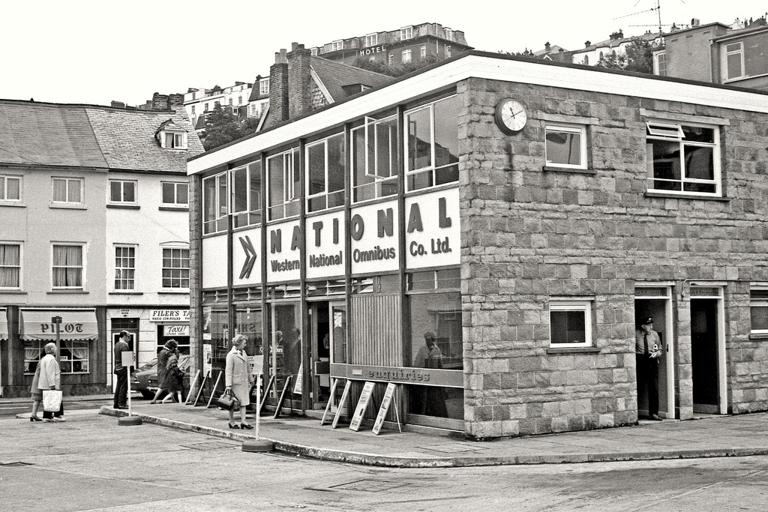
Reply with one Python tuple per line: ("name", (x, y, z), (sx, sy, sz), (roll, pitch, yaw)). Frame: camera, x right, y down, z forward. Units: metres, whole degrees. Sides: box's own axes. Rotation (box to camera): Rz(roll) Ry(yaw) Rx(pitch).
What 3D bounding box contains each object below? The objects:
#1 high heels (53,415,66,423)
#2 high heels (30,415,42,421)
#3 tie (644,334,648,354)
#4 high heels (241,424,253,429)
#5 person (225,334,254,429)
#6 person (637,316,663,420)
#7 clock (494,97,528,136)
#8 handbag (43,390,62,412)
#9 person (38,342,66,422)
("high heels", (-10.296, 5.205, 41.044), (0.388, 0.130, 0.152), (-1, -8, 14))
("high heels", (-11.030, 5.179, 41.028), (0.343, 0.120, 0.168), (0, -1, -30))
("tie", (7.668, 2.543, 37.137), (0.127, 0.498, 0.027), (-8, -13, 33))
("high heels", (-3.928, 4.981, 37.529), (0.266, 0.089, 0.145), (-9, -12, 35))
("person", (-4.181, 3.675, 37.716), (1.041, 2.644, 0.863), (4, -7, -44))
("person", (7.750, 3.279, 37.304), (0.666, 2.898, 0.853), (-2, -11, 10))
("clock", (3.598, -3.805, 35.453), (0.999, 0.984, 0.280), (7, -13, -32))
("handbag", (-10.463, 4.609, 40.805), (0.584, 0.706, 0.494), (4, -12, -21))
("person", (-10.643, 4.009, 41.082), (1.062, 2.315, 0.965), (5, -4, 3))
